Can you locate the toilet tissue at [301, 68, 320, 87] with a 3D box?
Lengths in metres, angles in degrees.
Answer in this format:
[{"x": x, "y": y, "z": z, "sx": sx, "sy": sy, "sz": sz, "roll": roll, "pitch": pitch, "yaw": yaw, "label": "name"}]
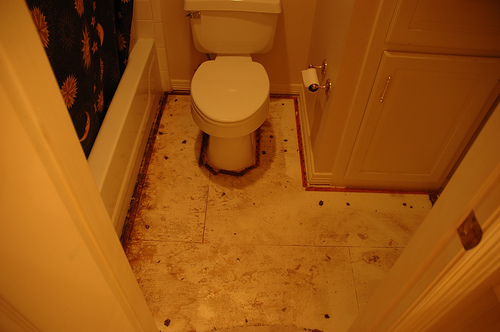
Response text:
[{"x": 0.315, "y": -0.455, "z": 1.851, "sx": 0.067, "sy": 0.066, "sz": 0.117, "roll": -2, "pitch": 38, "yaw": -3, "label": "toilet tissue"}]
